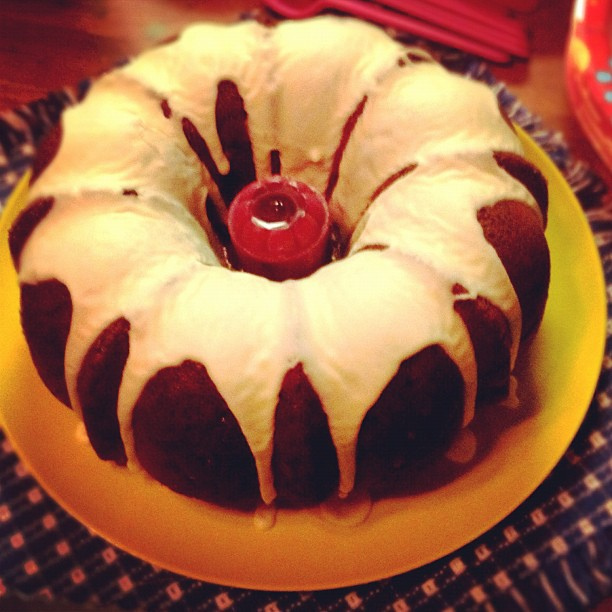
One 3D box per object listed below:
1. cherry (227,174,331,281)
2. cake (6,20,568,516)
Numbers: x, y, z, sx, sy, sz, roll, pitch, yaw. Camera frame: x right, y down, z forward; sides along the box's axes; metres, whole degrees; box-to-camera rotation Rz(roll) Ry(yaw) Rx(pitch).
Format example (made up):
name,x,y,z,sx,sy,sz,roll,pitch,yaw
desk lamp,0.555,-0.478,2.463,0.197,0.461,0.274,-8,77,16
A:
name,x,y,z,sx,sy,sz,roll,pitch,yaw
cherry,-0.041,-0.106,1.173,0.126,0.092,0.143,-12,65,-5
cake,-0.049,-0.067,1.110,0.627,0.288,0.742,-3,53,-4
